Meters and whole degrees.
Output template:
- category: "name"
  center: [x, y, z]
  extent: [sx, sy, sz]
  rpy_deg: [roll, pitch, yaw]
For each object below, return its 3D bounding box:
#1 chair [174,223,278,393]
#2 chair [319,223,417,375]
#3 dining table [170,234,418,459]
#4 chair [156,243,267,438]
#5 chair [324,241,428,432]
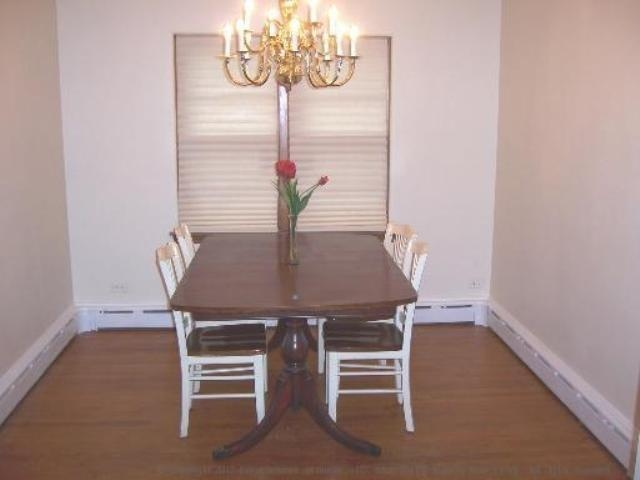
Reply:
- category: "chair"
  center: [-0.610, 0.298, 3.864]
  extent: [0.779, 1.309, 0.712]
  rpy_deg: [-1, 16, -2]
- category: "chair"
  center: [0.324, 0.321, 3.796]
  extent: [0.552, 0.919, 0.571]
  rpy_deg: [5, 17, -7]
- category: "dining table"
  center: [-0.164, 0.549, 3.499]
  extent: [1.298, 1.042, 1.464]
  rpy_deg: [-1, 22, -4]
- category: "chair"
  center: [-0.642, 0.635, 3.310]
  extent: [0.577, 1.049, 0.583]
  rpy_deg: [-2, -9, -16]
- category: "chair"
  center: [0.325, 0.595, 3.273]
  extent: [0.714, 1.379, 0.768]
  rpy_deg: [1, 12, 0]
